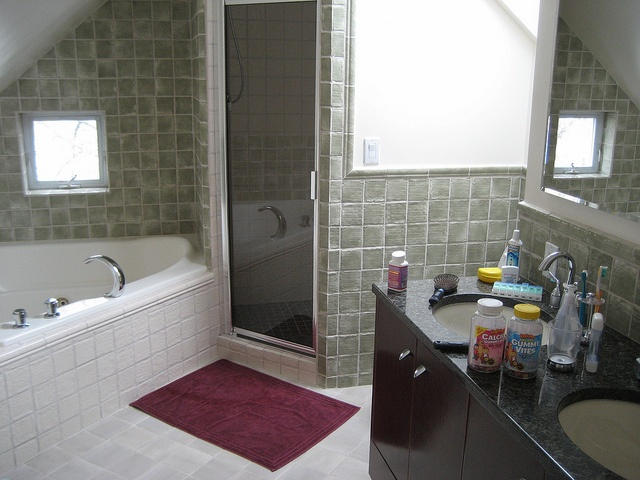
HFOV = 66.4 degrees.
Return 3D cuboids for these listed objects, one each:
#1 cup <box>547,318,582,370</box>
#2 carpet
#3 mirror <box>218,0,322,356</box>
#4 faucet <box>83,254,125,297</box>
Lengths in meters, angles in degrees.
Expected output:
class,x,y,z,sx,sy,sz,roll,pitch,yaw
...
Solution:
class,x,y,z,sx,sy,sz,roll,pitch,yaw
cup,0.728,0.323,1.472,0.079,0.131,0.079,0,11,0
carpet,-0.411,0.963,2.752,1.089,0.129,0.631,6,12,30
mirror,-0.302,-0.333,2.869,0.615,2.003,0.065,6,13,27
faucet,-1.215,0.197,2.799,0.184,0.248,0.233,-3,11,-14
